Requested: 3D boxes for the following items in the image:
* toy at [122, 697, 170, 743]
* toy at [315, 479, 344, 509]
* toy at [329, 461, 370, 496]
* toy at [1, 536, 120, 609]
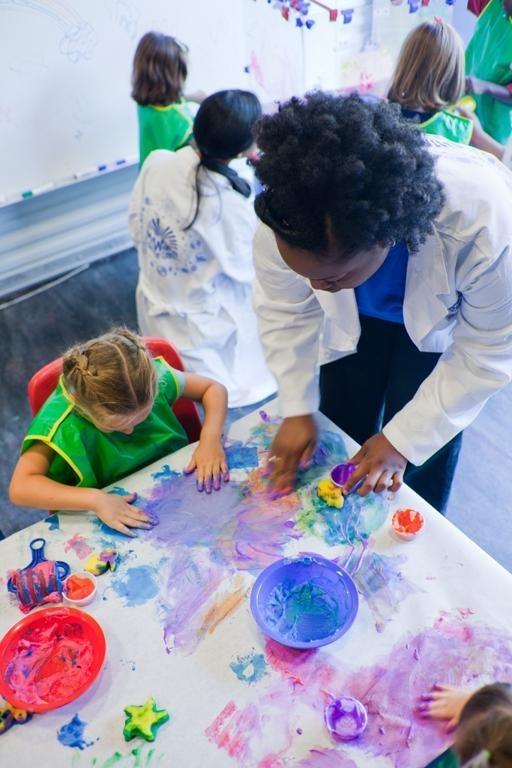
[{"bbox_3d":[-0.144,0.440,0.819,0.058,0.021,0.054,-5,29,-9],"label":"toy"},{"bbox_3d":[0.130,0.194,1.112,0.048,0.034,0.017,52,10,26],"label":"toy"},{"bbox_3d":[0.159,0.172,1.138,0.048,0.029,0.049,1,65,12],"label":"toy"},{"bbox_3d":[-0.337,0.307,1.000,0.090,0.034,0.108,-15,37,-22],"label":"toy"}]
